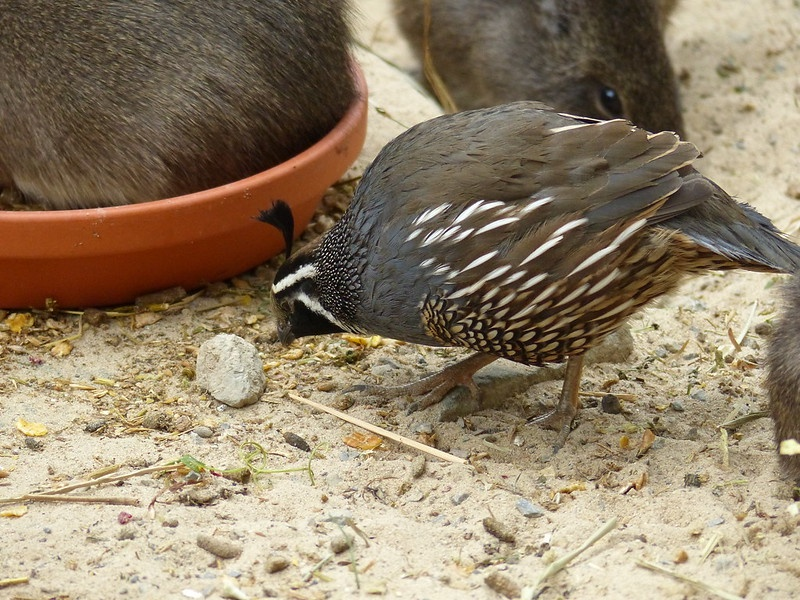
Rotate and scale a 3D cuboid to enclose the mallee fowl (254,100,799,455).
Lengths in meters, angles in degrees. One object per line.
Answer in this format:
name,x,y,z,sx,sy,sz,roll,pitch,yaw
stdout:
mallee fowl,0.679,-0.224,4.298,1.672,1.508,2.634,6,16,28
